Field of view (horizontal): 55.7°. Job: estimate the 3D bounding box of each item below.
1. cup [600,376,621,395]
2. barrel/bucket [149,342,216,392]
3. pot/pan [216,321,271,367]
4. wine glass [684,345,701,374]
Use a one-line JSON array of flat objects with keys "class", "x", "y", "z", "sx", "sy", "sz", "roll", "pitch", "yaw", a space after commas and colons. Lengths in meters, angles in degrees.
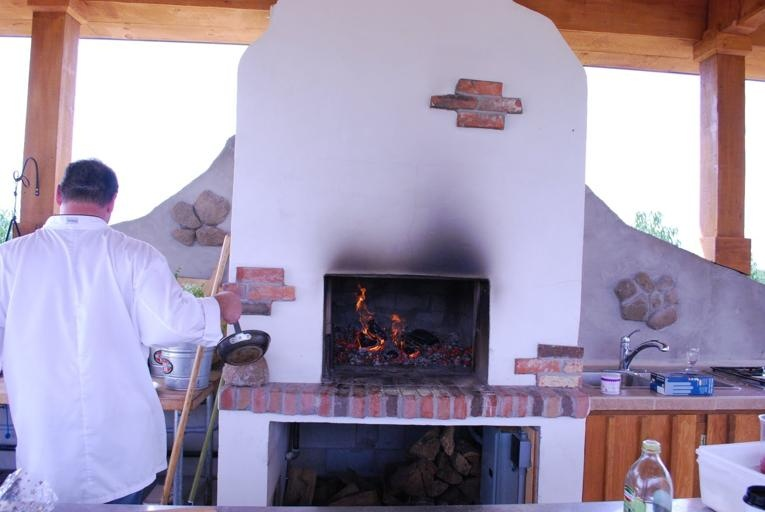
[{"class": "cup", "x": 1.462, "y": 0.838, "z": 4.683, "sx": 0.124, "sy": 0.112, "sz": 0.120, "roll": 1, "pitch": -6, "yaw": 0}, {"class": "barrel/bucket", "x": -1.295, "y": 0.699, "z": 4.631, "sx": 0.313, "sy": 0.255, "sz": 0.359, "roll": 2, "pitch": -5, "yaw": -4}, {"class": "pot/pan", "x": -0.768, "y": 0.491, "z": 4.050, "sx": 0.271, "sy": 0.249, "sz": 0.247, "roll": 5, "pitch": 3, "yaw": 8}, {"class": "wine glass", "x": 2.256, "y": 0.755, "z": 5.262, "sx": 0.099, "sy": 0.169, "sz": 0.328, "roll": -1, "pitch": -5, "yaw": 23}]
